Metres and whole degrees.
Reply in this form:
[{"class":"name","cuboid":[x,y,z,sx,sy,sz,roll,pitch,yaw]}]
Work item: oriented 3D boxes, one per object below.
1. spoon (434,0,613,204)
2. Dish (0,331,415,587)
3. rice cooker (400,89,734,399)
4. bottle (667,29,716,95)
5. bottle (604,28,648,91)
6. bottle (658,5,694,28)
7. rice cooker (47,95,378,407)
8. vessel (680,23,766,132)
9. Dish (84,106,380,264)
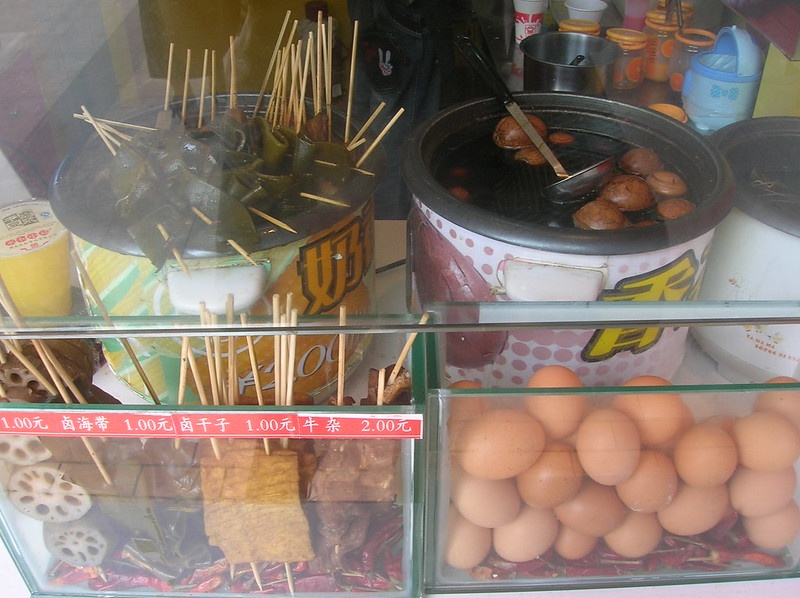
[{"class":"spoon","cuboid":[0.119,-0.214,0.807,0.093,0.072,0.289,-41,76,10]},{"class":"Dish","cuboid":[-0.228,0.339,1.038,0.563,0.351,0.301,-1,48,1]},{"class":"rice cooker","cuboid":[0.158,-0.041,0.851,0.329,0.252,0.351,21,46,26]},{"class":"bottle","cuboid":[0.325,-0.263,0.775,0.049,0.071,0.049,-6,33,4]},{"class":"bottle","cuboid":[0.258,-0.269,0.807,0.047,0.061,0.064,6,21,26]},{"class":"bottle","cuboid":[0.302,-0.316,0.771,0.041,0.021,0.029,16,41,22]},{"class":"rice cooker","cuboid":[-0.190,-0.042,0.864,0.354,0.245,0.339,-1,44,-1]},{"class":"vessel","cuboid":[0.354,-0.243,0.764,0.079,0.111,0.078,-32,46,-31]},{"class":"Dish","cuboid":[-0.180,-0.122,0.717,0.198,0.070,0.196,-9,46,-8]}]
